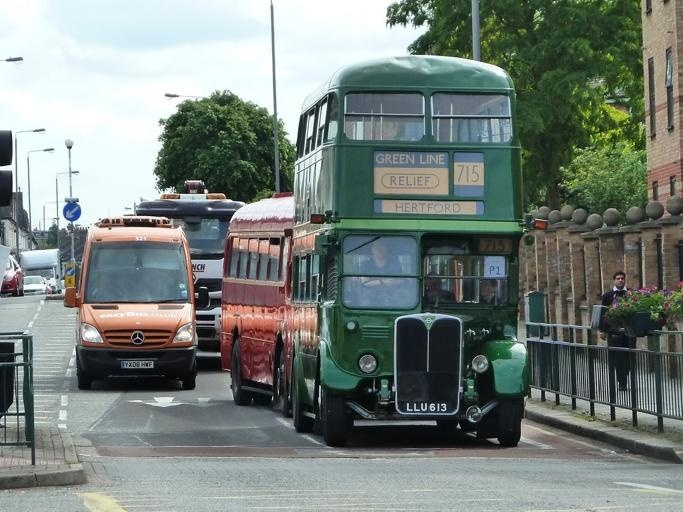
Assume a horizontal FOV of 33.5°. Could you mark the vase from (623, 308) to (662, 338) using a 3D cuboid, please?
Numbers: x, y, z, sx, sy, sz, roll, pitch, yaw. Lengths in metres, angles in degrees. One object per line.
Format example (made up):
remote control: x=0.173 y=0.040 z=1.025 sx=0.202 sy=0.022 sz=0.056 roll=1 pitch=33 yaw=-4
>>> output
vase: x=4.485 y=1.018 z=16.874 sx=0.345 sy=0.259 sz=0.486 roll=1 pitch=-8 yaw=-15

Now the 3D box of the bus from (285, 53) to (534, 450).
bus: x=0.891 y=-0.121 z=16.265 sx=3.538 sy=5.663 sz=2.265 roll=-2 pitch=-3 yaw=16

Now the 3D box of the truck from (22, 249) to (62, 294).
truck: x=-22.619 y=1.310 z=85.312 sx=2.944 sy=3.971 sz=7.893 roll=-1 pitch=-4 yaw=-9

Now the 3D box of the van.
van: x=-4.294 y=1.038 z=23.943 sx=2.528 sy=3.650 sz=2.021 roll=-1 pitch=-3 yaw=-10

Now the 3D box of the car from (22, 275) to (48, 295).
car: x=-22.692 y=2.187 z=83.808 sx=1.665 sy=1.433 sz=4.043 roll=0 pitch=-3 yaw=-14
